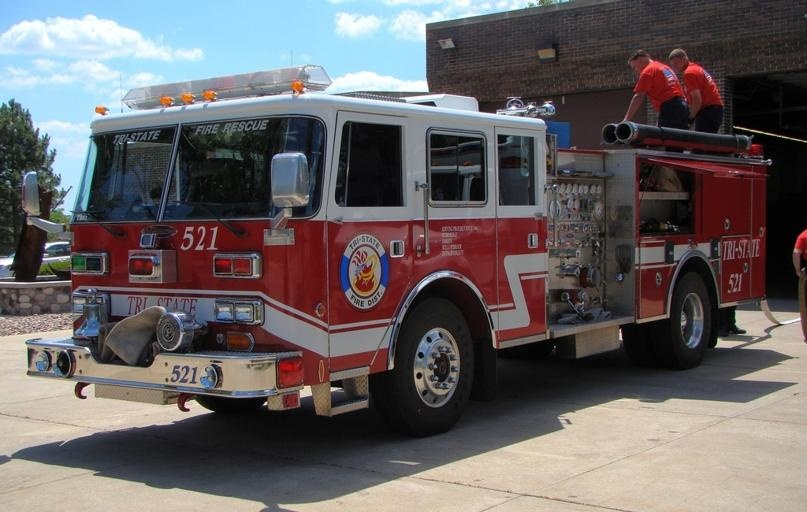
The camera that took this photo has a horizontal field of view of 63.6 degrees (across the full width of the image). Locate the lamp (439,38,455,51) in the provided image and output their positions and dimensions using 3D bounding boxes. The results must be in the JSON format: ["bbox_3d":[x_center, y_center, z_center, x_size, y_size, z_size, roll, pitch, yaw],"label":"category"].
[{"bbox_3d":[1.506,-7.252,22.271,0.553,0.367,0.283,2,6,38],"label":"lamp"}]

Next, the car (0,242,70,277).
[{"bbox_3d":[-12.495,0.174,22.231,1.511,0.791,2.740,-5,-5,27],"label":"car"}]

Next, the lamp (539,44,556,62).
[{"bbox_3d":[4.623,-6.399,20.631,0.433,0.272,0.444,-1,-40,15],"label":"lamp"}]
